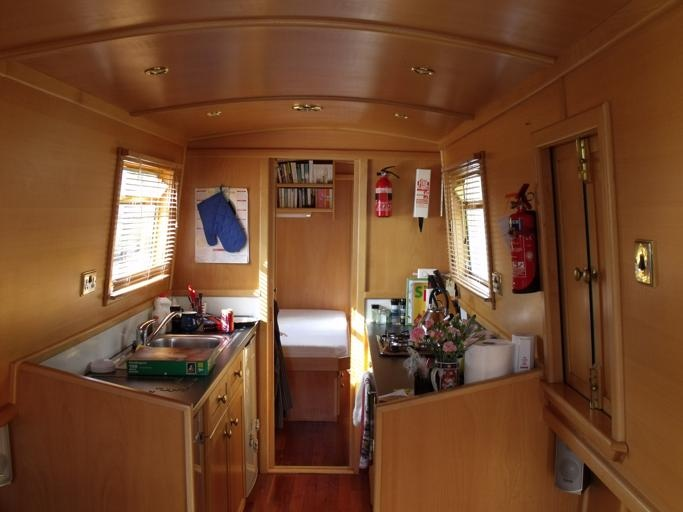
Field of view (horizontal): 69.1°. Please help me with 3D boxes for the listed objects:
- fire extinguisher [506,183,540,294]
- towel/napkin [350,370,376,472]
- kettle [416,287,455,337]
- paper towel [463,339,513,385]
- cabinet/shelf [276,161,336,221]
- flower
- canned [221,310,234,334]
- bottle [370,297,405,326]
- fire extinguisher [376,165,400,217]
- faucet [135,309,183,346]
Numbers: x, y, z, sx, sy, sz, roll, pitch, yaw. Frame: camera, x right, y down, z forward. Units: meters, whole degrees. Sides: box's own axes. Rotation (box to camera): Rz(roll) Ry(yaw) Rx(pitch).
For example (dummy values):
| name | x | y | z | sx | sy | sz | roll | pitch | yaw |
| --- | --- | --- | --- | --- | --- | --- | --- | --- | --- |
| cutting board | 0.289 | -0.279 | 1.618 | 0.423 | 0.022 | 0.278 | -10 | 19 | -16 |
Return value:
| name | x | y | z | sx | sy | sz | roll | pitch | yaw |
| --- | --- | --- | --- | --- | --- | --- | --- | --- | --- |
| fire extinguisher | 0.827 | -0.072 | 2.268 | 0.137 | 0.482 | 0.151 | -4 | 2 | 4 |
| towel/napkin | 0.164 | 1.138 | 3.318 | 0.156 | 0.703 | 0.242 | 0 | 0 | 2 |
| kettle | 0.694 | 0.384 | 3.668 | 0.174 | 0.377 | 0.312 | 4 | 6 | -1 |
| paper towel | 0.699 | 0.503 | 2.381 | 0.204 | 0.242 | 0.212 | 2 | 4 | 18 |
| cabinet/shelf | -0.350 | -0.662 | 4.880 | 0.601 | 0.636 | 0.247 | 0 | 5 | 1 |
| flower | 0.583 | 0.441 | 2.650 | 0.343 | 0.273 | 0.345 | -5 | -10 | 6 |
| canned | -0.858 | 0.495 | 3.776 | 0.091 | 0.166 | 0.180 | -1 | 1 | -14 |
| bottle | 0.370 | 0.462 | 4.128 | 0.332 | 0.213 | 0.102 | 0 | 1 | 12 |
| fire extinguisher | 0.378 | -0.531 | 4.086 | 0.194 | 0.425 | 0.131 | -1 | 1 | 7 |
| faucet | -1.257 | 0.518 | 3.483 | 0.066 | 0.164 | 0.359 | -15 | 2 | 39 |
